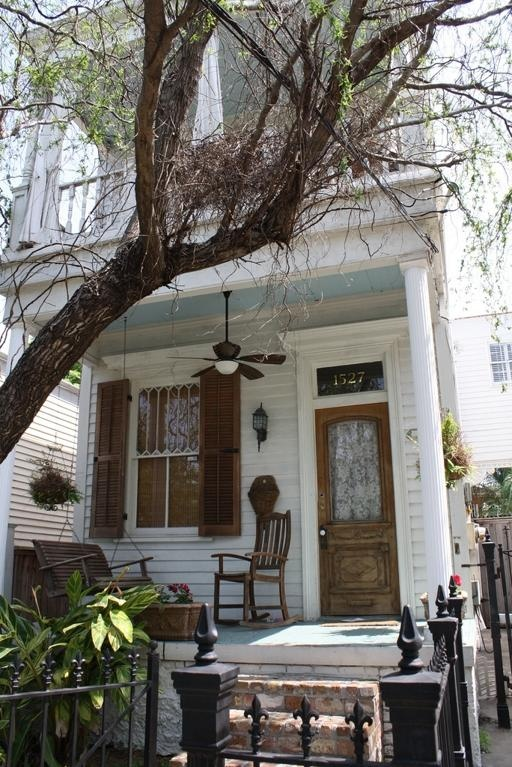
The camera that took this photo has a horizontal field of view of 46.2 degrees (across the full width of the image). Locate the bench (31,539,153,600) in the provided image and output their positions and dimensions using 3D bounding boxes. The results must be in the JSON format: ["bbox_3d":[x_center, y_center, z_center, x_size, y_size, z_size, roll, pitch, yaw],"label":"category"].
[{"bbox_3d":[-1.922,1.958,6.409,0.852,0.498,0.324,-2,-12,17],"label":"bench"}]

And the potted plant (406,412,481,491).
[{"bbox_3d":[1.863,0.663,6.105,0.598,0.793,0.796,-4,-12,15],"label":"potted plant"}]

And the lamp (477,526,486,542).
[{"bbox_3d":[3.950,2.655,10.553,0.131,0.295,1.768,-5,-12,20],"label":"lamp"}]

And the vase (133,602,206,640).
[{"bbox_3d":[-0.745,2.016,5.093,0.510,0.297,0.254,-1,-11,-3],"label":"vase"}]

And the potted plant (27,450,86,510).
[{"bbox_3d":[-2.535,1.245,7.609,0.573,0.684,0.577,-1,-11,-3],"label":"potted plant"}]

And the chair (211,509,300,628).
[{"bbox_3d":[-0.065,1.966,6.363,0.864,1.200,0.939,-4,-17,12],"label":"chair"}]

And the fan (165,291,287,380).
[{"bbox_3d":[-0.286,-0.563,6.451,1.008,0.980,1.040,-2,1,-7],"label":"fan"}]

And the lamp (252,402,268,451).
[{"bbox_3d":[0.055,0.523,7.158,0.161,0.568,0.164,2,-15,3],"label":"lamp"}]
